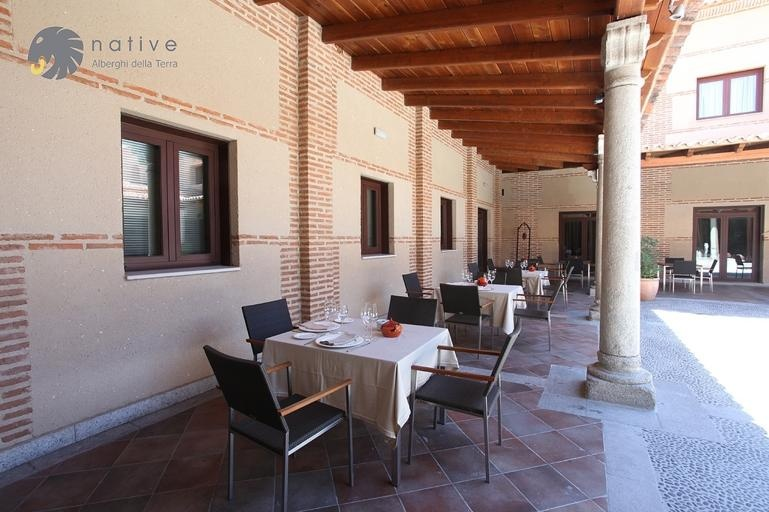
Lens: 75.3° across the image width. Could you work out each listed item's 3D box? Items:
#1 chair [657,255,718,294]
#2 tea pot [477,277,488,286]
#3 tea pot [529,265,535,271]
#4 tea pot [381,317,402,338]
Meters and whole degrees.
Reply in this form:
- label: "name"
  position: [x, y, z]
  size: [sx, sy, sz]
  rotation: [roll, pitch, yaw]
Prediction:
- label: "chair"
  position: [8.156, 0.454, 13.536]
  size: [1.299, 0.866, 1.373]
  rotation: [1, 2, 39]
- label: "tea pot"
  position: [1.600, 0.434, 8.105]
  size: [0.145, 0.080, 0.146]
  rotation: [0, 7, 0]
- label: "tea pot"
  position: [3.118, 0.266, 10.487]
  size: [0.110, 0.071, 0.131]
  rotation: [1, 6, 25]
- label: "tea pot"
  position: [0.078, 0.778, 5.397]
  size: [0.180, 0.157, 0.181]
  rotation: [-1, 6, 0]
